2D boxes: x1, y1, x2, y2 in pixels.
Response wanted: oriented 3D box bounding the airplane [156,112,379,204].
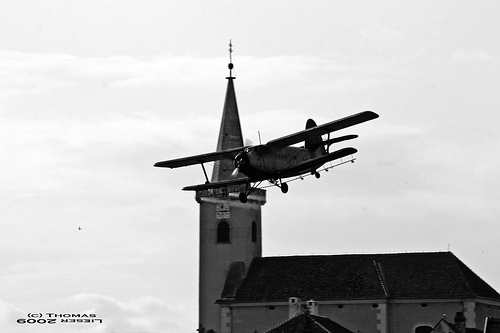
[{"bbox_3d":[2.186,-0.083,104.325,18.808,4.891,12.644,-11,4,-28],"label":"airplane"}]
